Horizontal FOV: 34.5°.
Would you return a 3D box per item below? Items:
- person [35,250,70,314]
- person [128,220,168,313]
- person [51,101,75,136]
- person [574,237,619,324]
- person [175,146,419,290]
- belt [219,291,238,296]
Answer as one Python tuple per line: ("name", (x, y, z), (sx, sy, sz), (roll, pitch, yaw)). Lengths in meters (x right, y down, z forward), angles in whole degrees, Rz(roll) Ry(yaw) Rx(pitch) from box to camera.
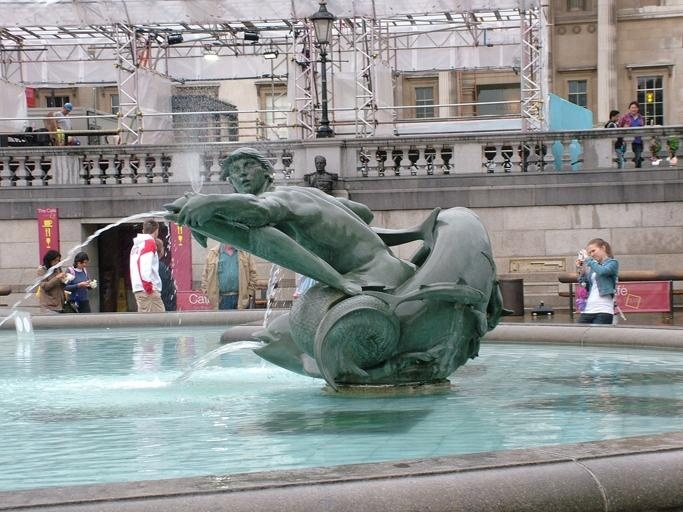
("person", (-4.377, 0.381, 16.609), (0.437, 0.939, 3.220), (-2, 2, -15))
("person", (-2.826, 0.132, 15.890), (0.441, 1.310, 0.547), (-2, 1, -9))
("person", (-6.878, -3.387, 26.994), (0.419, 0.818, 2.484), (-2, 2, -14))
("person", (3.137, 0.306, 13.477), (0.483, 1.018, 0.627), (-2, 1, 1))
("person", (-0.460, -0.323, 9.891), (2.054, 1.341, 0.579), (-2, 1, -16))
("belt", (-1.624, 0.535, 15.799), (0.271, 0.069, 0.043), (-1, 2, 20))
